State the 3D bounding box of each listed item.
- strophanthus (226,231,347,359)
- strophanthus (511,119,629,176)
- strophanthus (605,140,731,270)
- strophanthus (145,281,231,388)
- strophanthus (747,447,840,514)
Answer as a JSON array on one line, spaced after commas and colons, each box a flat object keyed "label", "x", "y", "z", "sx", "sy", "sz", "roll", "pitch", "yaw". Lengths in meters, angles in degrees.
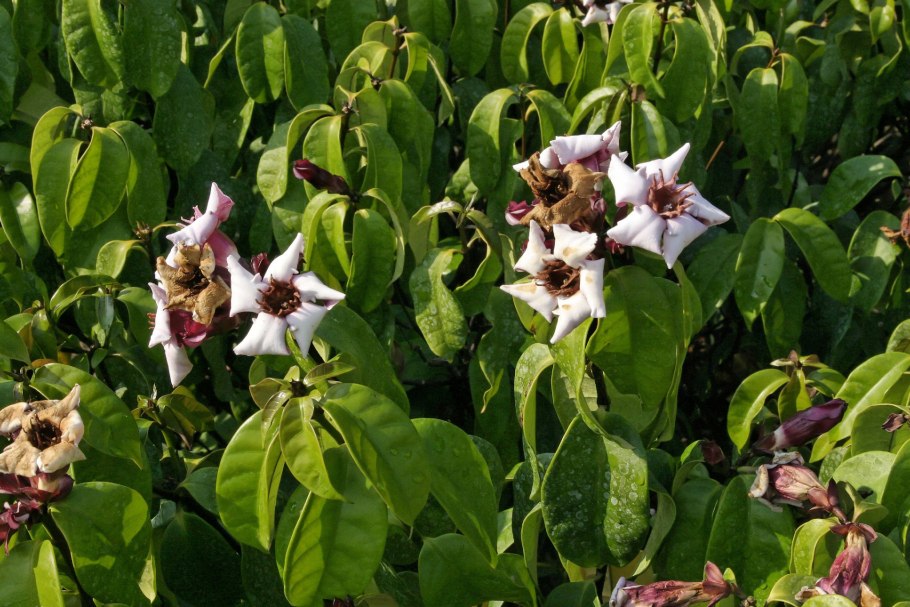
[{"label": "strophanthus", "x": -0.482, "y": 0.012, "z": 3.489, "sx": 0.337, "sy": 0.159, "sz": 0.426, "roll": -1, "pitch": 43, "yaw": -10}, {"label": "strophanthus", "x": 0.347, "y": -0.436, "z": 3.520, "sx": 0.256, "sy": 0.128, "sz": 0.143, "roll": -1, "pitch": 18, "yaw": -13}, {"label": "strophanthus", "x": 0.552, "y": -0.255, "z": 3.450, "sx": 0.275, "sy": 0.357, "sz": 0.146, "roll": -34, "pitch": -13, "yaw": 1}, {"label": "strophanthus", "x": -0.745, "y": 0.053, "z": 3.595, "sx": 0.110, "sy": 0.244, "sz": 0.261, "roll": -18, "pitch": 71, "yaw": -49}, {"label": "strophanthus", "x": 0.940, "y": 0.505, "z": 3.518, "sx": 0.130, "sy": 0.112, "sz": 0.201, "roll": -40, "pitch": 41, "yaw": -24}]
